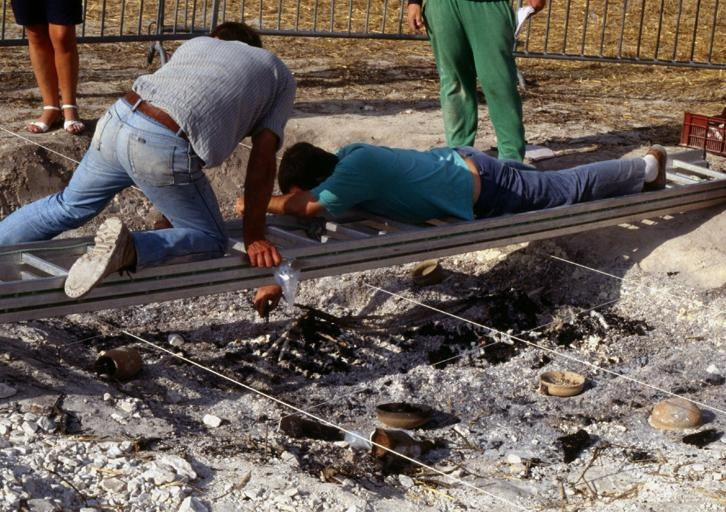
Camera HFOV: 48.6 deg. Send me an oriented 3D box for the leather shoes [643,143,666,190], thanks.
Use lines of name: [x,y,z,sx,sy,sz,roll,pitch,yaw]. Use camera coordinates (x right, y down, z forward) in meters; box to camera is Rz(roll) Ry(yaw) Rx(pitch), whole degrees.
leather shoes: [2.466,-0.731,6.685,0.175,0.370,0.207,-6,-24,42]

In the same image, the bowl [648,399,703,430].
bowl: [2.131,1.097,5.501,0.295,0.160,0.240,-8,21,-20]

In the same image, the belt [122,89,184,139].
belt: [-1.261,-0.855,4.821,0.380,0.135,0.320,28,9,-41]

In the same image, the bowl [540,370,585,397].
bowl: [1.463,0.948,5.952,0.312,0.115,0.269,10,21,28]

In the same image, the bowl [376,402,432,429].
bowl: [0.255,1.107,5.604,0.265,0.068,0.228,-1,1,24]

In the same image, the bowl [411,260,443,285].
bowl: [0.539,0.140,7.030,0.283,0.122,0.249,-20,17,2]

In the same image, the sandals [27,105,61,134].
sandals: [-3.044,-1.295,7.660,0.195,0.158,0.452,19,27,15]

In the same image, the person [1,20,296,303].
person: [-1.263,-0.593,4.910,1.751,1.587,0.973,-3,24,-5]
